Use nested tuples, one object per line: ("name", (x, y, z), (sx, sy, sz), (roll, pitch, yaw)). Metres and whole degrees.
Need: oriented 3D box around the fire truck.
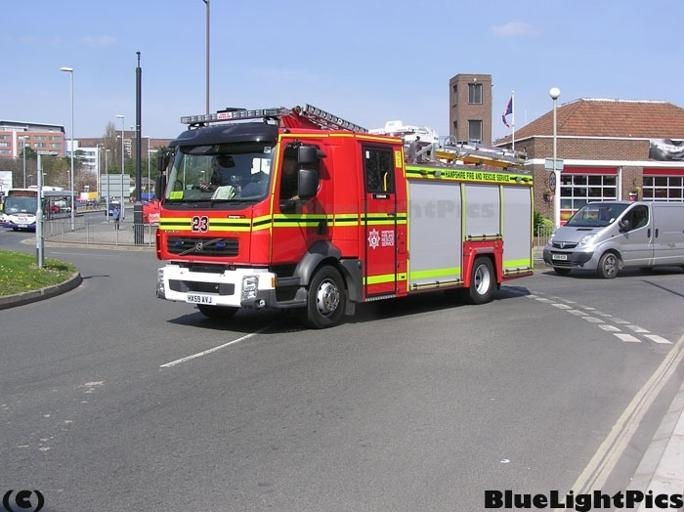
("fire truck", (0.369, -0.739, 13.491), (3.404, 4.160, 8.294), (-2, -3, 45))
